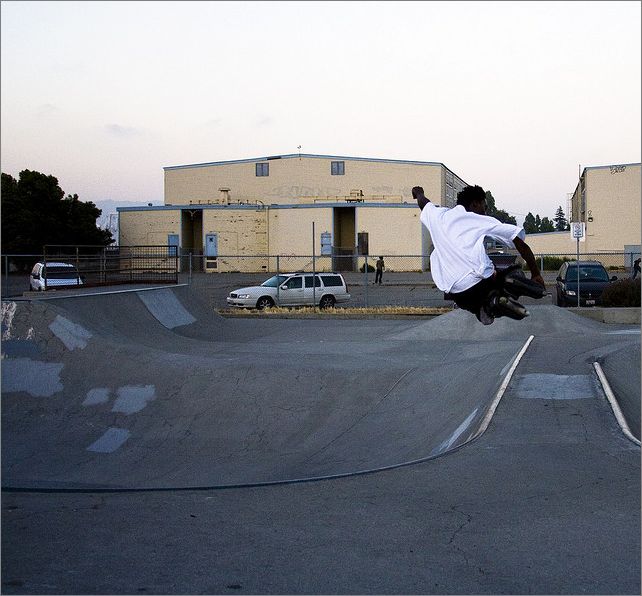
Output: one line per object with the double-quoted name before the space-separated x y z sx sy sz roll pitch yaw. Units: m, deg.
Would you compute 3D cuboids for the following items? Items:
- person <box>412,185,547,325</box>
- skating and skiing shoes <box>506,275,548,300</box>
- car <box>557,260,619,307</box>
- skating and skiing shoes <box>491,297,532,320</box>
"person" 1.476 -0.368 6.685 0.727 1.329 1.235 -11 11 -42
"skating and skiing shoes" 1.812 -0.085 6.615 0.289 0.121 0.190 11 -25 48
"car" 6.242 -0.347 17.911 0.851 0.745 1.696 0 0 10
"skating and skiing shoes" 1.712 0.095 6.798 0.288 0.130 0.203 11 3 -33
